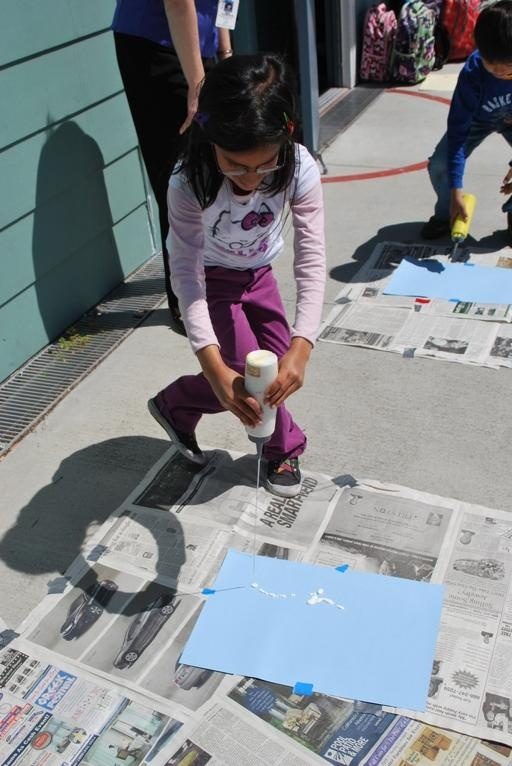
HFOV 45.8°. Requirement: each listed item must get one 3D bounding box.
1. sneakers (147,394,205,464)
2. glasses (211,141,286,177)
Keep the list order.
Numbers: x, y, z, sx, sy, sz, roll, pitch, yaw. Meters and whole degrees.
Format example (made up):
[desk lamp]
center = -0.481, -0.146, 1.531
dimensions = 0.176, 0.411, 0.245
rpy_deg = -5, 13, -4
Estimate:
[sneakers]
center = -0.214, 0.126, 1.633
dimensions = 0.060, 0.174, 0.074
rpy_deg = -34, 0, -27
[glasses]
center = -0.014, -0.369, 1.024
dimensions = 0.108, 0.078, 0.119
rpy_deg = -10, 22, 0
